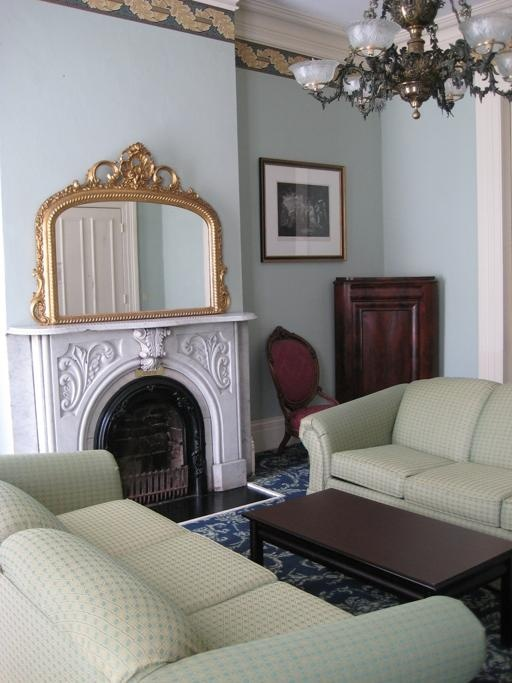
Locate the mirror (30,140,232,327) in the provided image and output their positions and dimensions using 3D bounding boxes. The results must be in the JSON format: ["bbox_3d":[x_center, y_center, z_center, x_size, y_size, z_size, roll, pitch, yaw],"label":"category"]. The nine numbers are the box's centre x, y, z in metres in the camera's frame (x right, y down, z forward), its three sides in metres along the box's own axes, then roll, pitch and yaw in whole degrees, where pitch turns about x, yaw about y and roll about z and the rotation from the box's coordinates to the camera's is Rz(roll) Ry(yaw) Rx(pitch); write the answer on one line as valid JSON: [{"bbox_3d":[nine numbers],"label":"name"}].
[{"bbox_3d":[-0.766,-0.620,3.418,1.221,0.878,0.059,-6,6,-43],"label":"mirror"}]

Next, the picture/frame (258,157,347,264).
[{"bbox_3d":[0.330,-1.028,4.637,0.960,0.847,0.044,-3,2,-38],"label":"picture/frame"}]
